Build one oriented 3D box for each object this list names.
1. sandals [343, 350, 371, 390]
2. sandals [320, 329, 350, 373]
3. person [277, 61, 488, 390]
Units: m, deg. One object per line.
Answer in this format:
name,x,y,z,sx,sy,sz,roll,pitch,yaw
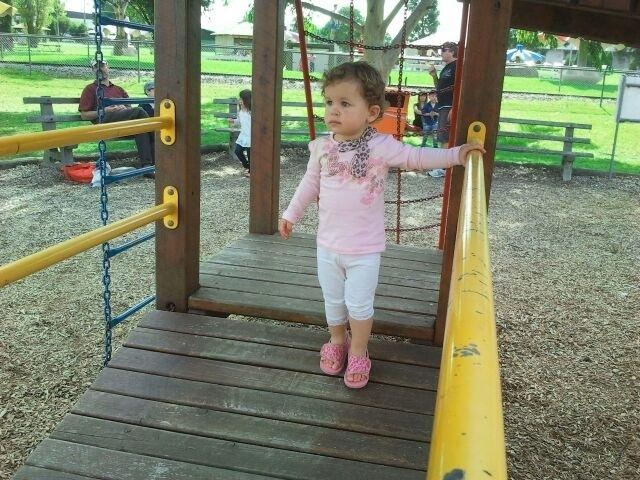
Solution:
sandals,0.176,0.552,2.274,0.113,0.070,0.282,4,25,7
sandals,0.060,0.515,2.363,0.108,0.073,0.271,18,26,4
person,0.183,-0.081,2.247,0.505,1.351,0.730,-16,27,-42
